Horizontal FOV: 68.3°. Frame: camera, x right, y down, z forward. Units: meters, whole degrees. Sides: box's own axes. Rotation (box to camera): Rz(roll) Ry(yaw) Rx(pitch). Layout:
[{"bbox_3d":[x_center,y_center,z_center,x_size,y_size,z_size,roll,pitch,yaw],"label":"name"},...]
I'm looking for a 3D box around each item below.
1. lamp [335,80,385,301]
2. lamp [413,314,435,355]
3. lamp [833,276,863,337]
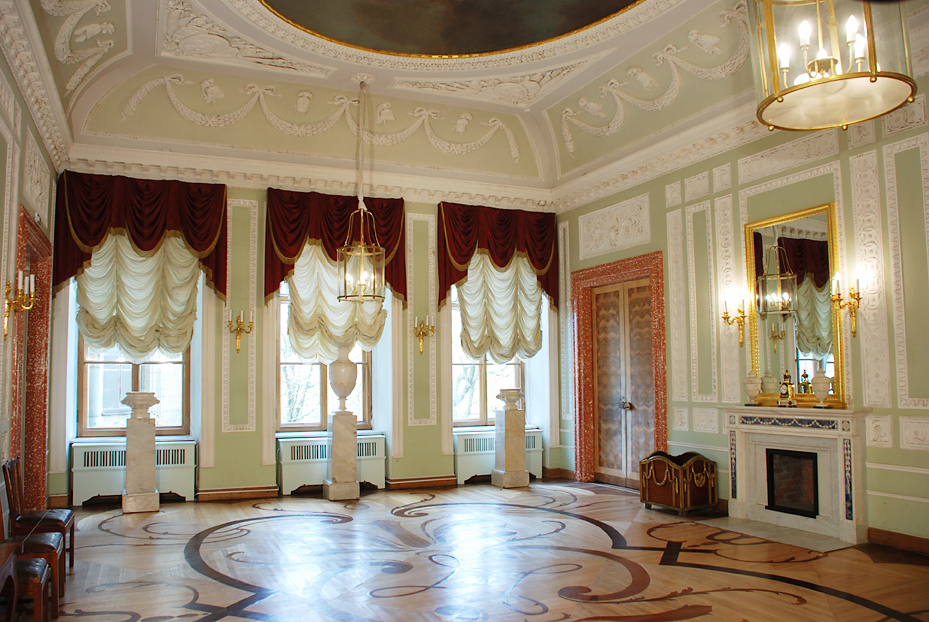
[{"bbox_3d":[-1.592,-1.812,10.732,0.721,3.370,2.009,0,-1,-7],"label":"lamp"},{"bbox_3d":[-0.708,0.428,11.875,0.356,0.613,0.129,0,-1,-29],"label":"lamp"},{"bbox_3d":[4.809,-0.057,8.640,0.405,0.684,0.288,-3,5,-17],"label":"lamp"}]
